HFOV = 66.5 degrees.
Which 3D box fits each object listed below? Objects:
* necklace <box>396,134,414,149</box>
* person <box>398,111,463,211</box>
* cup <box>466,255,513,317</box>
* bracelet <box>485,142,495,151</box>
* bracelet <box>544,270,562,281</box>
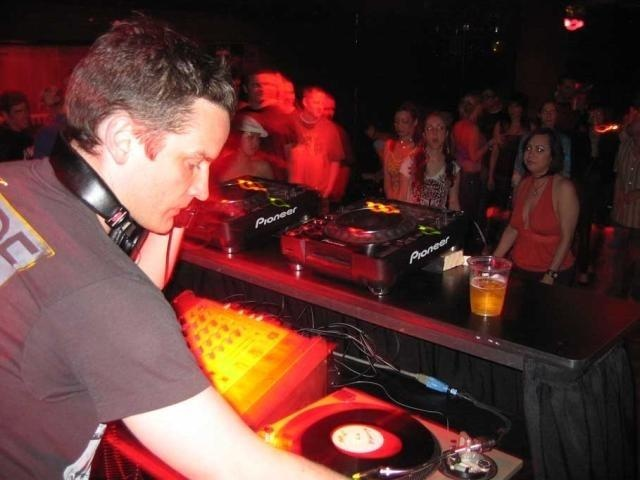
[{"bbox_3d":[0.717,-0.804,4.041,0.112,0.062,0.113,1,32,6],"label":"necklace"},{"bbox_3d":[0.860,-0.638,3.886,0.381,0.685,0.362,9,24,26],"label":"person"},{"bbox_3d":[0.525,0.129,1.530,0.125,0.142,0.231,6,21,19],"label":"cup"},{"bbox_3d":[1.624,-0.890,4.675,0.031,0.095,0.104,37,-2,-9],"label":"bracelet"},{"bbox_3d":[1.389,0.213,2.897,0.063,0.040,0.081,8,-5,18],"label":"bracelet"}]
